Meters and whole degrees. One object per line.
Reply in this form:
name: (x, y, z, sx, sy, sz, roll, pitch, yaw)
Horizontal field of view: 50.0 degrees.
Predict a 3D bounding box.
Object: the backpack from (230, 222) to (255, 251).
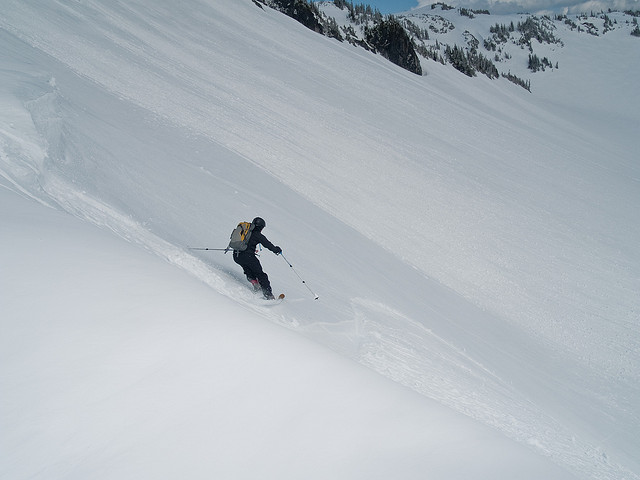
backpack: (-2.280, -0.087, 20.740, 0.642, 0.856, 0.339, -6, -29, 41)
